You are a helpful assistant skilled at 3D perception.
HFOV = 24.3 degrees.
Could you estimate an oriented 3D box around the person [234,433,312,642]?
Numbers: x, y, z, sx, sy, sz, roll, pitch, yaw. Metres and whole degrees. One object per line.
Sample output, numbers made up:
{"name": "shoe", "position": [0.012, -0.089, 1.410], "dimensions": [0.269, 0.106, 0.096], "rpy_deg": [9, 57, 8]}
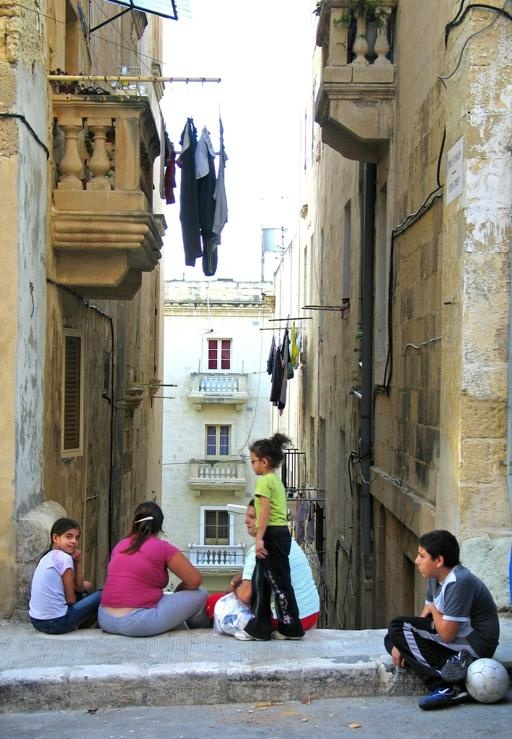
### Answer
{"name": "person", "position": [0.076, 1.014, 7.246], "dimensions": [0.425, 1.250, 0.318], "rpy_deg": [4, -5, -38]}

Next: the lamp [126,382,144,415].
{"name": "lamp", "position": [-1.530, 0.373, 14.846], "dimensions": [0.081, 0.355, 0.284], "rpy_deg": [3, 4, 0]}

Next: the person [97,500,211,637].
{"name": "person", "position": [-0.615, 1.214, 7.353], "dimensions": [0.522, 1.051, 0.703], "rpy_deg": [3, 5, 30]}

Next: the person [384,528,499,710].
{"name": "person", "position": [1.017, 1.463, 6.455], "dimensions": [0.496, 1.071, 0.616], "rpy_deg": [6, -29, -1]}

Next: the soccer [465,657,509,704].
{"name": "soccer", "position": [1.218, 1.639, 6.240], "dimensions": [0.190, 0.234, 0.243], "rpy_deg": [-26, 13, 27]}

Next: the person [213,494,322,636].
{"name": "person", "position": [0.044, 1.308, 7.461], "dimensions": [0.621, 1.035, 0.617], "rpy_deg": [-1, -21, 11]}

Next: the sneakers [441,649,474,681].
{"name": "sneakers", "position": [1.053, 1.566, 6.234], "dimensions": [0.094, 0.245, 0.098], "rpy_deg": [35, 12, 23]}
